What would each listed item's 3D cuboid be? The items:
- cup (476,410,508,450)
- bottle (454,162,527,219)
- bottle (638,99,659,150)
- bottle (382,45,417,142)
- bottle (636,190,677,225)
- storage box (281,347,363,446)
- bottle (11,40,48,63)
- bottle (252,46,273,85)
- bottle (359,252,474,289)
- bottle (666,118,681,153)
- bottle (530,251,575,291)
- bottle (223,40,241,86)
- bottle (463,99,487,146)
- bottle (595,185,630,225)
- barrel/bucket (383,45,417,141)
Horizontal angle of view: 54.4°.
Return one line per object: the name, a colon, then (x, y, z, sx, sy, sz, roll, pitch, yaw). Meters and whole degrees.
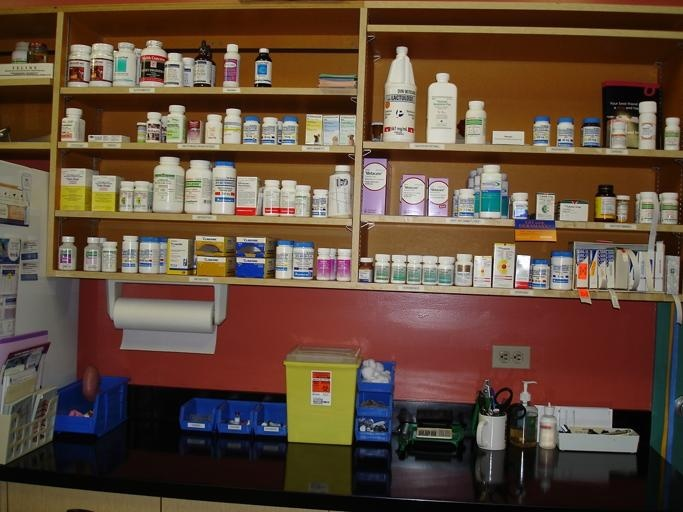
cup: (0.711, 0.856, 3.236, 0.128, 0.175, 0.208, 5, 10, 42)
bottle: (0.731, -0.322, 3.288, 0.351, 0.211, 0.314, 3, 2, 2)
bottle: (1.454, -0.621, 3.160, 0.079, 0.218, 0.076, 3, 2, 0)
bottle: (0.290, -0.793, 3.247, 0.151, 0.347, 0.174, 3, 2, 5)
bottle: (1.507, -0.222, 3.215, 0.175, 0.147, 0.165, 1, -2, 0)
storage box: (-0.167, 0.734, 3.342, 0.415, 0.411, 0.339, 6, -20, -20)
bottle: (-1.596, -1.042, 3.417, 0.182, 0.153, 0.105, 2, 7, -23)
bottle: (-0.387, -0.940, 3.305, 0.079, 0.226, 0.162, 3, 2, -6)
bottle: (0.361, 0.060, 3.220, 0.549, 0.117, 0.124, 3, 2, 7)
bottle: (1.578, -0.580, 3.163, 0.076, 0.157, 0.104, 4, 2, 24)
bottle: (1.014, 0.070, 3.170, 0.235, 0.226, 0.126, 3, 2, 19)
bottle: (-0.542, -0.932, 3.260, 0.066, 0.215, 0.050, 3, 2, -9)
bottle: (0.652, -0.640, 3.235, 0.099, 0.171, 0.166, 3, 2, 10)
bottle: (1.330, -0.257, 3.285, 0.151, 0.165, 0.219, 4, 3, 19)
barrel/bucket: (0.289, -0.793, 3.247, 0.152, 0.347, 0.174, 3, 2, 5)
